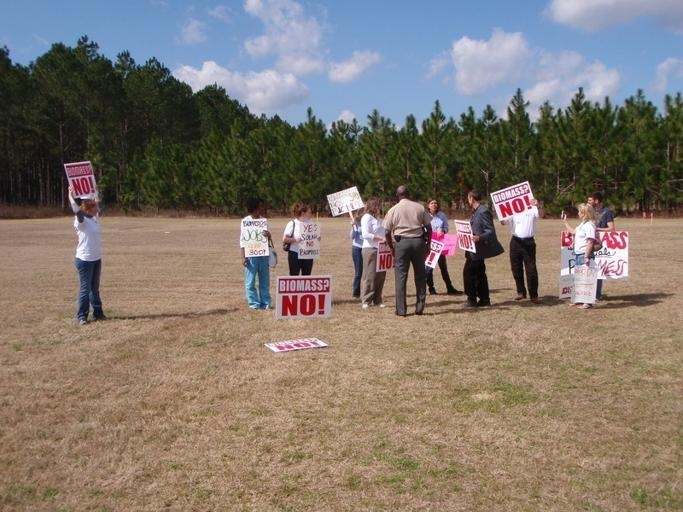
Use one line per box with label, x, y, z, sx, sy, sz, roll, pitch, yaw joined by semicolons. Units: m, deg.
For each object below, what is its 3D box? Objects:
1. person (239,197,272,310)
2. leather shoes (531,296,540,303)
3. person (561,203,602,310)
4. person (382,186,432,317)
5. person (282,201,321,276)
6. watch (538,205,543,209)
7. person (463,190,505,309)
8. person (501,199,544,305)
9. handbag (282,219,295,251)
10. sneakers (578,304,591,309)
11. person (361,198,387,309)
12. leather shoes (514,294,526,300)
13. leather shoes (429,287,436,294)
person;-1.781;-0.032;15.518;0.621;2.304;0.959;-1;5;-6
leather shoes;4.171;0.952;15.855;0.083;0.179;0.153;0;-6;-9
person;5.083;0.019;15.325;0.563;2.152;0.479;2;5;22
person;1.336;-0.065;14.827;0.909;2.545;0.490;0;5;7
person;-0.903;-0.314;15.813;0.669;1.589;1.353;0;6;-3
watch;4.335;-1.053;16.098;0.095;0.031;0.114;-3;6;9
person;2.998;-0.170;15.796;0.749;2.458;0.974;1;5;10
person;3.961;-0.096;15.955;0.667;2.230;0.545;2;5;19
handbag;-1.124;-0.423;15.699;0.252;0.665;0.471;-1;6;-12
sneakers;5.096;1.057;15.433;0.263;0.136;0.100;1;1;-8
person;0.754;-0.052;15.756;0.587;2.434;0.642;1;-1;26
leather shoes;3.976;0.909;16.369;0.227;0.208;0.114;2;-2;-25
leather shoes;2.172;0.843;17.613;0.118;0.197;0.169;0;-2;-30
